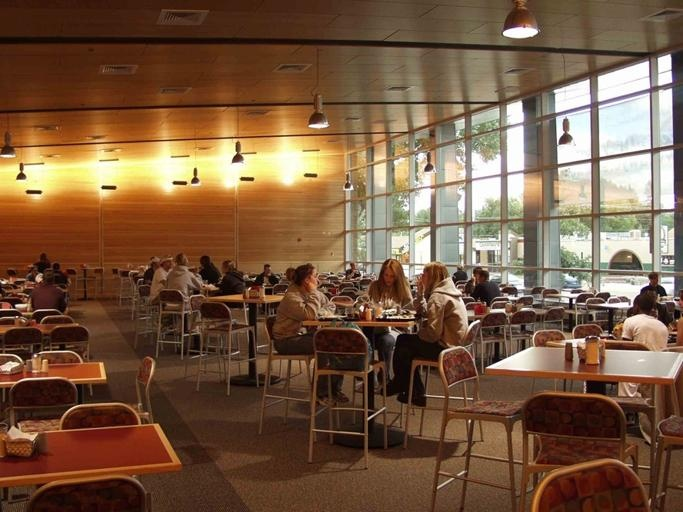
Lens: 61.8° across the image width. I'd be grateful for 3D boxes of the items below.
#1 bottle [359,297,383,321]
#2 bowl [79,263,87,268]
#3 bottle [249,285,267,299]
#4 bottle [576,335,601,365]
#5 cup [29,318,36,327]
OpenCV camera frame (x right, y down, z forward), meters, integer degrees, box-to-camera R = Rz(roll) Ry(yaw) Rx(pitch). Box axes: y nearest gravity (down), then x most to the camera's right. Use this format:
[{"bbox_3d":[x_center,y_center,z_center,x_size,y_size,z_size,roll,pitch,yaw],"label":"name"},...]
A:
[{"bbox_3d":[0.273,0.529,5.608,0.159,0.159,0.264,5,7,44],"label":"bottle"},{"bbox_3d":[-9.303,0.331,20.595,0.256,0.145,0.245,-1,0,0],"label":"bowl"},{"bbox_3d":[-1.219,0.514,8.233,0.320,0.187,0.159,2,6,5],"label":"bottle"},{"bbox_3d":[1.724,0.649,3.955,0.157,0.177,0.284,-1,-2,23],"label":"bottle"},{"bbox_3d":[-3.926,0.837,7.222,0.096,0.072,0.099,-1,-6,0],"label":"cup"}]
